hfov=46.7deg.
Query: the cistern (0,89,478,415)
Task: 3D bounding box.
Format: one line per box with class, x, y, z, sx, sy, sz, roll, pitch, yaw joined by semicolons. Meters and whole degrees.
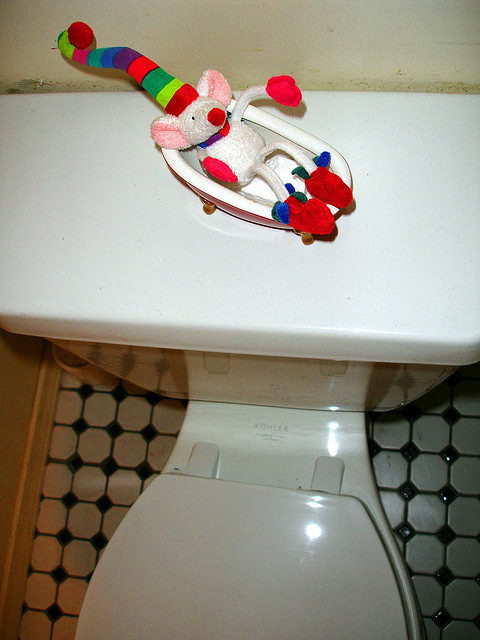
cistern;-0.007;-0.022;0.799;0.408;0.604;0.383;-1;69;4
